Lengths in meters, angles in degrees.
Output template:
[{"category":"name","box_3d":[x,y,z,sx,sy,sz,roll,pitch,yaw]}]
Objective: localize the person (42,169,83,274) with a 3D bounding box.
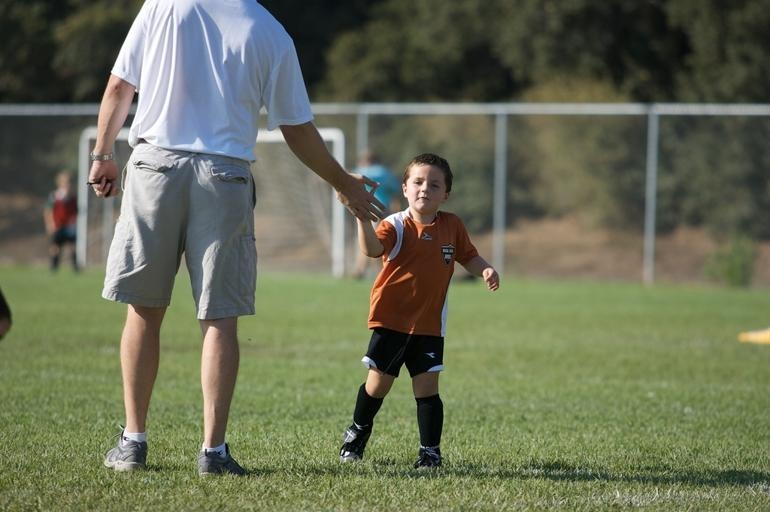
[{"category":"person","box_3d":[-5.492,-0.543,24.948,0.537,1.774,0.898,-1,12,-13]}]

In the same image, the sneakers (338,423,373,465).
[{"category":"sneakers","box_3d":[-0.292,1.925,14.915,0.246,0.366,0.201,22,8,-26]}]

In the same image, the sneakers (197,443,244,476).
[{"category":"sneakers","box_3d":[-1.615,2.028,14.543,0.471,0.274,0.150,1,12,-6]}]

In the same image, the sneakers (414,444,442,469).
[{"category":"sneakers","box_3d":[0.431,2.039,14.805,0.267,0.241,0.171,3,-8,-2]}]
